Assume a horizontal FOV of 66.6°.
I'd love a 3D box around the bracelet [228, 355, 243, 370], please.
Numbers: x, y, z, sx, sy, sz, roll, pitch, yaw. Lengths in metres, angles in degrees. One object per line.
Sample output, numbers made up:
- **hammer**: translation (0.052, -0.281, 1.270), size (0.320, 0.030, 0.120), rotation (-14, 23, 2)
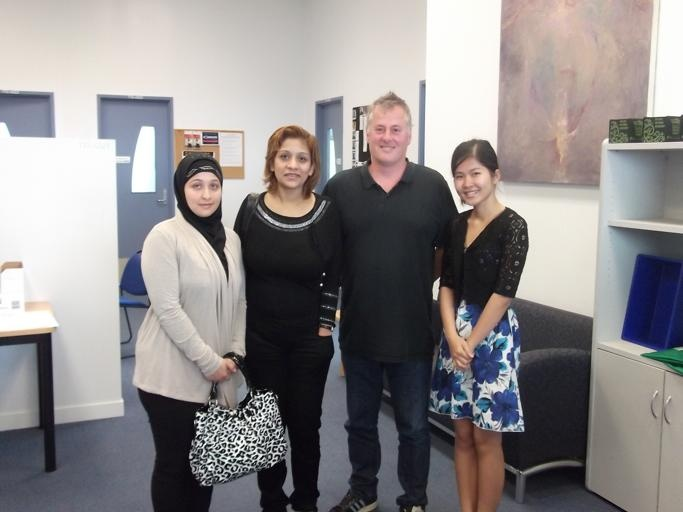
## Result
- **bracelet**: translation (-0.470, 0.467, 2.317), size (0.055, 0.034, 0.065), rotation (41, -6, -17)
